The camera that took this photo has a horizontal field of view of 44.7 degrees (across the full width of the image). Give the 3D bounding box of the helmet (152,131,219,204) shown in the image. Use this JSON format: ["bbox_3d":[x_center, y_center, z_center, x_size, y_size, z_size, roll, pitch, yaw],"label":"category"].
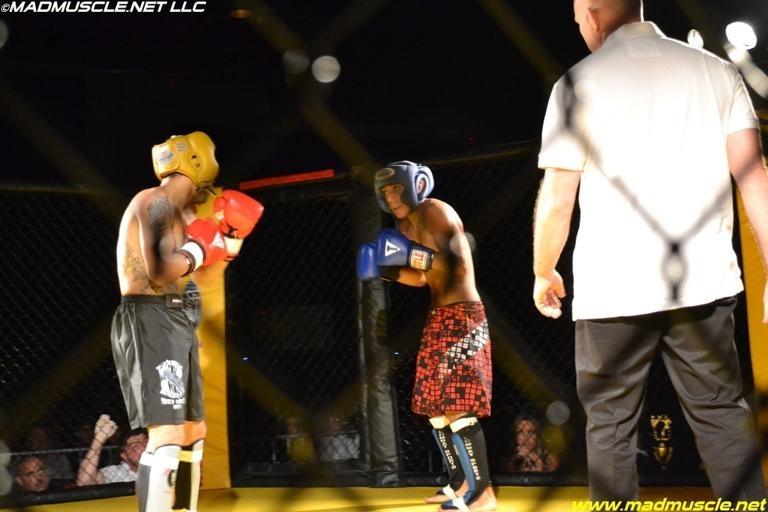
[{"bbox_3d":[-1.278,-0.566,5.898,0.472,0.393,0.370,-12,3,-20],"label":"helmet"}]

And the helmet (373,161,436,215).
[{"bbox_3d":[0.141,-0.479,6.483,0.412,0.307,0.318,8,-17,-34],"label":"helmet"}]
